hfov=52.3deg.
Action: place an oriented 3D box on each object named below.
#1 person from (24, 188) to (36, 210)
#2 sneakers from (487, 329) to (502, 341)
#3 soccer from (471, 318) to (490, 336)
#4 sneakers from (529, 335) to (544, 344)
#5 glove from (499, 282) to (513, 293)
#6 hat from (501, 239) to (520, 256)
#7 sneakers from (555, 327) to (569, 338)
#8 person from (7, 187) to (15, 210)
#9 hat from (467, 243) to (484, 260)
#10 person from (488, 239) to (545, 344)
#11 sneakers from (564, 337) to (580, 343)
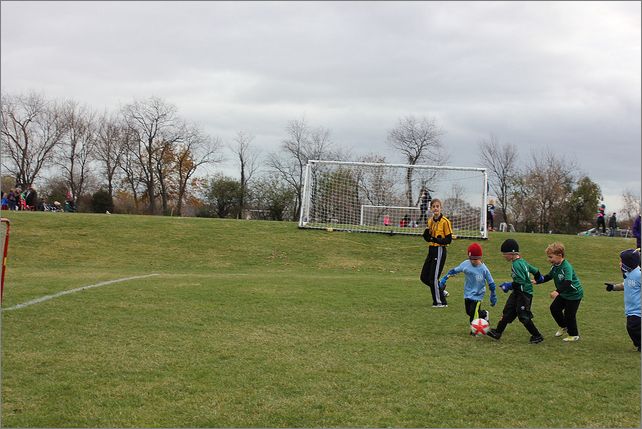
[{"bbox_3d":[-14.856,-0.806,33.384,0.516,1.199,2.097,1,4,-26],"label":"person"},{"bbox_3d":[3.471,2.391,13.093,0.374,0.148,0.117,22,-31,-5],"label":"sneakers"},{"bbox_3d":[3.168,2.237,13.121,0.381,0.307,0.340,2,-3,-6],"label":"soccer"},{"bbox_3d":[4.312,2.456,12.995,0.381,0.141,0.123,-6,-10,-24],"label":"sneakers"},{"bbox_3d":[3.671,1.461,13.008,0.195,0.190,0.226,18,23,9],"label":"glove"},{"bbox_3d":[3.822,0.647,13.159,0.355,0.284,0.300,3,-2,28],"label":"hat"},{"bbox_3d":[4.931,2.386,13.339,0.327,0.098,0.134,-23,-43,24],"label":"sneakers"},{"bbox_3d":[-15.663,-0.805,32.969,0.382,0.991,1.088,1,4,-25],"label":"person"},{"bbox_3d":[3.211,0.752,13.514,0.338,0.271,0.305,-11,21,-27],"label":"hat"},{"bbox_3d":[3.986,1.508,13.120,1.013,2.006,0.771,5,5,17],"label":"person"},{"bbox_3d":[5.011,2.476,13.114,0.348,0.137,0.101,-4,42,5],"label":"sneakers"}]
